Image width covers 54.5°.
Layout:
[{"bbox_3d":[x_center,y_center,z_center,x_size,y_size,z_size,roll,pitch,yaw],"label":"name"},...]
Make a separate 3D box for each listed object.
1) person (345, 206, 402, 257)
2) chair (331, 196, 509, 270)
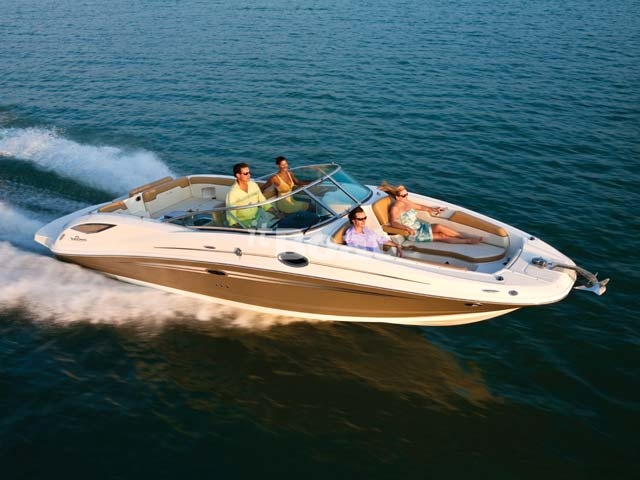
[{"bbox_3d":[0.961,-0.125,11.646,1.203,0.934,0.685,11,55,26],"label":"person"},{"bbox_3d":[1.683,-0.131,11.931,3.786,0.842,1.201,5,41,13],"label":"chair"}]
